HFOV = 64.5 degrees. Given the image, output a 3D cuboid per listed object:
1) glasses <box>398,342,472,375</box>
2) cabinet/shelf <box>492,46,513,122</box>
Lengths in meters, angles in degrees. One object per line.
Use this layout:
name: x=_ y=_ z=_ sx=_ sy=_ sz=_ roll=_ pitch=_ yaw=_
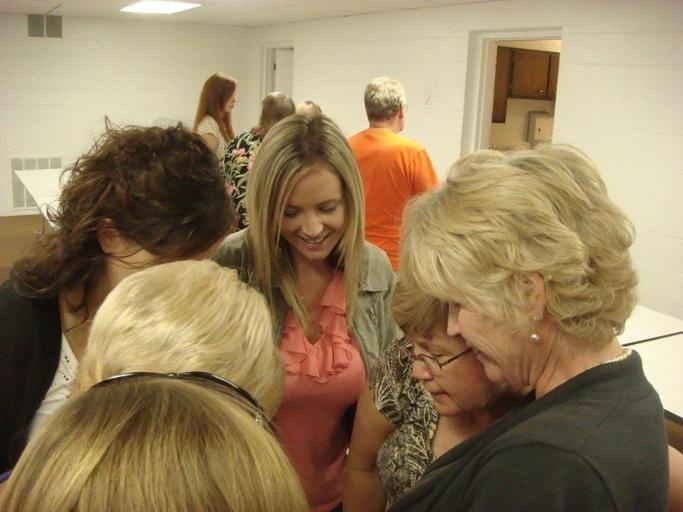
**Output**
glasses: x=0.238 y=0.244 z=1.362 sx=0.100 sy=0.032 sz=0.097 roll=-8 pitch=8 yaw=-26
cabinet/shelf: x=1.938 y=-2.061 z=6.564 sx=0.307 sy=0.889 sz=0.091 roll=-5 pitch=14 yaw=-38
